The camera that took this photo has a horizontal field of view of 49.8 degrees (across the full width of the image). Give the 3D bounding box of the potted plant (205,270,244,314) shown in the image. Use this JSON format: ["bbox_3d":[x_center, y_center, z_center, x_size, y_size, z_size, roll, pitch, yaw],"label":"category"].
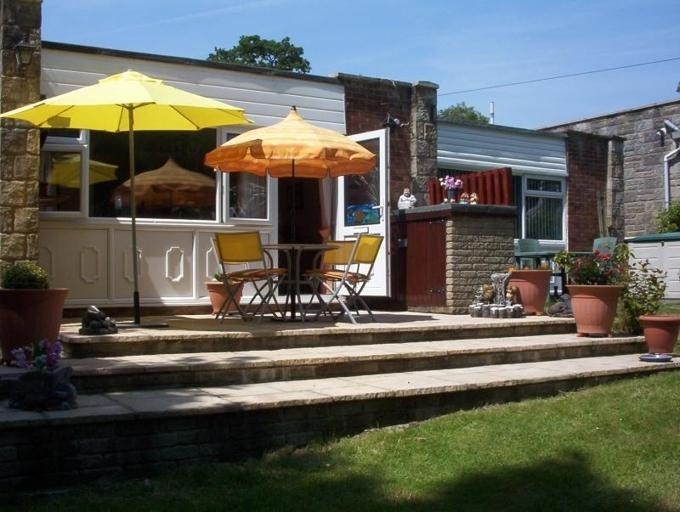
[{"bbox_3d":[-1.404,0.451,8.825,0.549,0.415,0.546,0,-5,-3],"label":"potted plant"}]

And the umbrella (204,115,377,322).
[{"bbox_3d":[-0.435,-0.750,8.196,1.446,1.810,1.442,1,6,-5],"label":"umbrella"}]

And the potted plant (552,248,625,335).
[{"bbox_3d":[2.907,0.402,8.359,0.706,1.030,0.461,-1,0,19],"label":"potted plant"}]

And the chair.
[{"bbox_3d":[-0.528,0.198,8.556,1.508,0.767,1.280,0,1,-6],"label":"chair"}]

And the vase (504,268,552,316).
[{"bbox_3d":[2.661,0.502,9.910,0.657,0.548,0.666,-3,-4,39],"label":"vase"}]

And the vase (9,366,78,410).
[{"bbox_3d":[-2.123,0.971,5.250,0.334,0.174,0.336,0,-2,13],"label":"vase"}]

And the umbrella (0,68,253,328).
[{"bbox_3d":[-2.304,-0.632,8.016,2.678,2.453,2.779,-4,-3,35],"label":"umbrella"}]
